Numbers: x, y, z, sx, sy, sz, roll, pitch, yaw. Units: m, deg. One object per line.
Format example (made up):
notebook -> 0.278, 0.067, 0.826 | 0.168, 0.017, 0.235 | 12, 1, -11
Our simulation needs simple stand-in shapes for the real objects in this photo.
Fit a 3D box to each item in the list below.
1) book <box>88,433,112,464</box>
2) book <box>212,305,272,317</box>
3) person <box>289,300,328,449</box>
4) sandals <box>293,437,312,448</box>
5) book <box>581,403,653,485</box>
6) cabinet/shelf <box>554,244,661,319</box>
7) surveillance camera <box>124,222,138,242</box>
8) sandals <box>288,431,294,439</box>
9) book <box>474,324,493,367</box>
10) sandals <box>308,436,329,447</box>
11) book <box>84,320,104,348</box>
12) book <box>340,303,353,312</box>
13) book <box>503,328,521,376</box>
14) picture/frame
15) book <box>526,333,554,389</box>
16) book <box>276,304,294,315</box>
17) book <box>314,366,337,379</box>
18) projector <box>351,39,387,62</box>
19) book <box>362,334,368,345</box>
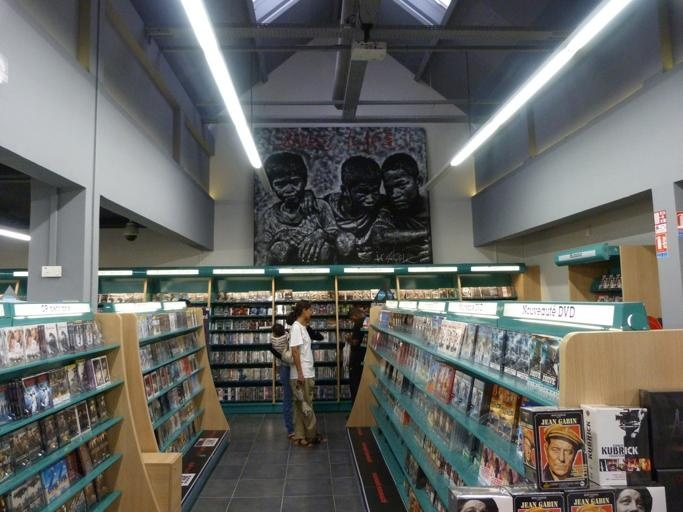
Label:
book -> -2.145, 1.704, 4.090 | 0.045, 0.218, 0.191 | -3, 13, 7
book -> -1.895, 1.023, 8.631 | 1.196, 0.191, 0.280 | -1, -9, -1
person -> -0.536, 1.609, 6.301 | 0.336, 1.988, 0.564 | -1, -4, -6
sandals -> -0.540, 2.580, 6.380 | 0.242, 0.106, 0.091 | 0, -6, -4
book -> 1.520, 1.033, 2.538 | 0.373, 0.431, 0.093 | -1, -4, -7
cabinet/shelf -> 3.672, 0.418, 6.556 | 0.683, 1.000, 1.328 | 3, -5, -1
surveillance camera -> -4.060, -0.511, 8.894 | 0.199, 0.333, 0.371 | 0, -5, -19
sandals -> -0.732, 2.577, 6.653 | 0.069, 0.096, 0.214 | 2, -20, -8
book -> 1.027, 0.651, 3.324 | 0.038, 0.301, 0.247 | 11, -8, -6
sandals -> -0.319, 2.617, 6.518 | 0.095, 0.143, 0.325 | 5, -19, 23
book -> -2.241, 0.699, 4.133 | 0.046, 0.192, 0.195 | -10, 8, 7
book -> 0.094, 0.950, 8.677 | 0.234, 0.240, 0.134 | 3, -30, -4
book -> 1.126, 0.648, 3.046 | 0.052, 0.217, 0.225 | 6, 1, 15
picture/frame -> -0.099, -1.161, 9.831 | 2.736, 2.128, 0.129 | -1, -7, -3
book -> 1.219, 0.649, 2.812 | 0.045, 0.364, 0.310 | 3, -2, -15
book -> -1.060, 0.985, 8.489 | 0.238, 0.187, 0.139 | 1, -16, -2
book -> -0.288, 2.157, 8.560 | 0.319, 0.191, 0.233 | 1, -9, -1
projector -> 0.343, -2.601, 5.824 | 0.308, 0.110, 0.237 | 0, -8, -5
book -> 0.353, 1.308, 7.213 | 0.116, 0.145, 0.084 | -3, -7, 43
